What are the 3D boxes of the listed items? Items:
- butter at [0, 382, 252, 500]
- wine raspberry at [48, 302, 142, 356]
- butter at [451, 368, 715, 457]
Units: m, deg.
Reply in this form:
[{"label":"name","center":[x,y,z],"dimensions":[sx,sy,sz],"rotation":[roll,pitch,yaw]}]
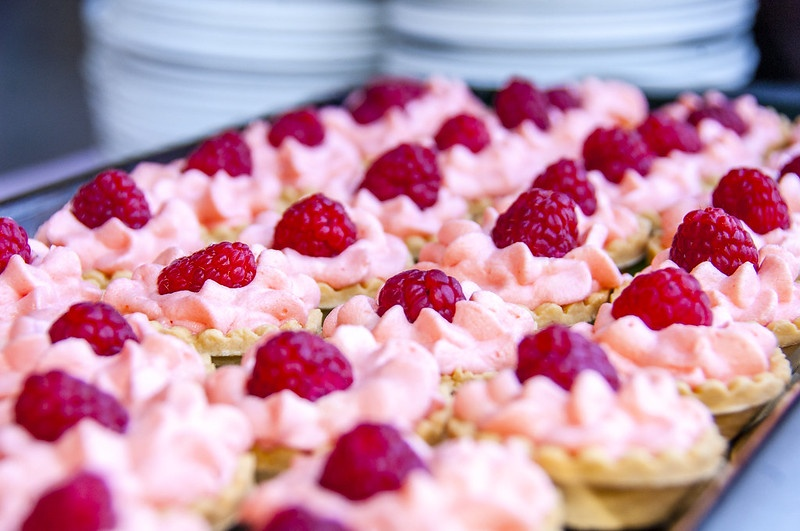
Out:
[{"label":"butter","center":[-0.414,0.300,1.412],"dimensions":[0.267,0.097,0.219],"rotation":[0,12,-19]},{"label":"wine raspberry","center":[-0.595,0.128,1.586],"dimensions":[0.117,0.100,0.096],"rotation":[-20,27,47]},{"label":"butter","center":[0.333,0.259,1.498],"dimensions":[0.472,0.137,0.144],"rotation":[-4,34,0]}]
